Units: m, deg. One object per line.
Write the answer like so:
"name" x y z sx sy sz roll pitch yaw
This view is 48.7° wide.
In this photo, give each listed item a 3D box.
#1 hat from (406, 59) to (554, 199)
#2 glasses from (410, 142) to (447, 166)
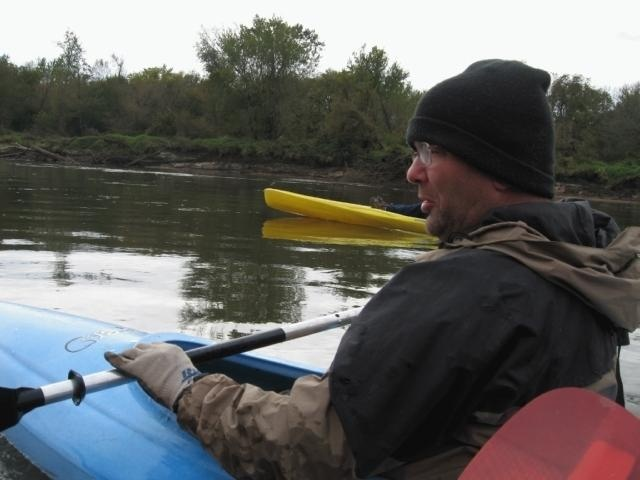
"hat" 0.427 -0.346 2.087 0.529 0.396 0.395 6 2 2
"glasses" 0.309 -0.240 2.030 0.072 0.029 0.069 21 24 -32
